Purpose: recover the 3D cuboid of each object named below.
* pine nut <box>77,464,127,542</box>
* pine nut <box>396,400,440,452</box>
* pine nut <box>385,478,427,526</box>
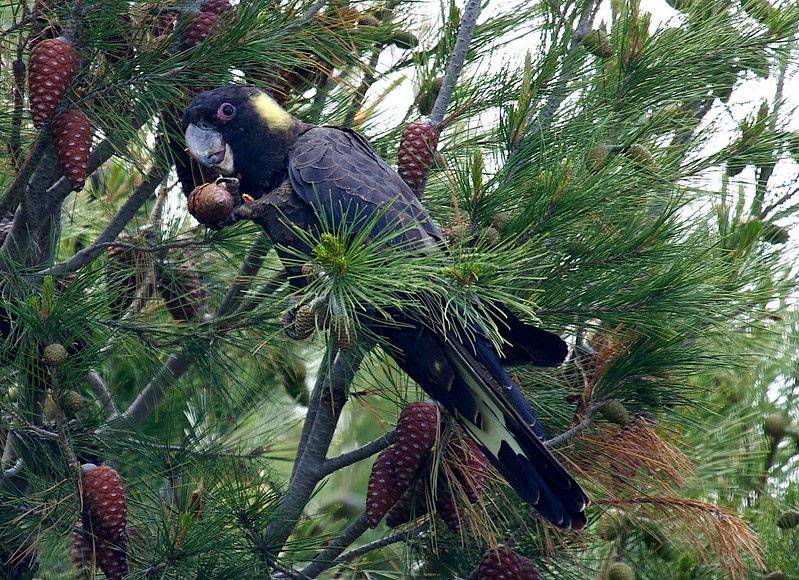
[{"bbox_3d":[-0.867,0.606,4.564,0.113,0.203,0.131,7,15,31],"label":"pine nut"},{"bbox_3d":[0.057,0.405,4.760,0.129,0.152,0.067,26,0,10],"label":"pine nut"},{"bbox_3d":[0.023,0.655,4.829,0.102,0.160,0.038,43,6,19],"label":"pine nut"}]
